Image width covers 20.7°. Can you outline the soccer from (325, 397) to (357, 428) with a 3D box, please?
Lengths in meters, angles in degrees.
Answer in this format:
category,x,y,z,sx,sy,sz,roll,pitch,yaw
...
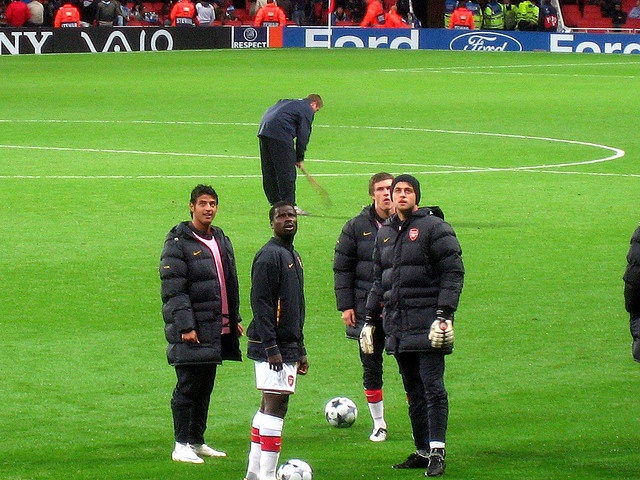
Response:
category,x,y,z,sx,sy,sz,roll,pitch,yaw
soccer,0.375,2.942,29.833,0.584,0.501,0.517,1,-2,3

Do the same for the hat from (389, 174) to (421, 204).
category,x,y,z,sx,sy,sz,roll,pitch,yaw
hat,1.424,-0.859,28.919,0.494,0.444,0.509,1,-7,10

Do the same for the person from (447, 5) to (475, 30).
category,x,y,z,sx,sy,sz,roll,pitch,yaw
person,5.713,-9.001,70.096,0.620,0.939,1.171,-7,8,-38

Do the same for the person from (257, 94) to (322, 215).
category,x,y,z,sx,sy,sz,roll,pitch,yaw
person,-0.674,-1.833,35.574,1.102,2.129,0.539,-2,7,-2

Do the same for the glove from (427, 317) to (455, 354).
category,x,y,z,sx,sy,sz,roll,pitch,yaw
glove,1.970,1.534,28.464,0.390,0.537,0.184,-1,7,0

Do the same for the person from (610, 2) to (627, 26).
category,x,y,z,sx,sy,sz,roll,pitch,yaw
person,12.912,-9.736,74.993,0.666,0.998,1.279,0,6,9

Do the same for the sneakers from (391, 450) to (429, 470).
category,x,y,z,sx,sy,sz,roll,pitch,yaw
sneakers,1.539,3.660,28.741,0.717,0.261,0.229,1,-4,1

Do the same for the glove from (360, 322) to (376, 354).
category,x,y,z,sx,sy,sz,roll,pitch,yaw
glove,0.775,1.642,29.027,0.239,0.442,0.343,1,1,-17

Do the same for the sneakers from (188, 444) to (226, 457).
category,x,y,z,sx,sy,sz,roll,pitch,yaw
sneakers,-1.872,3.517,29.053,0.650,0.222,0.211,2,0,-8
